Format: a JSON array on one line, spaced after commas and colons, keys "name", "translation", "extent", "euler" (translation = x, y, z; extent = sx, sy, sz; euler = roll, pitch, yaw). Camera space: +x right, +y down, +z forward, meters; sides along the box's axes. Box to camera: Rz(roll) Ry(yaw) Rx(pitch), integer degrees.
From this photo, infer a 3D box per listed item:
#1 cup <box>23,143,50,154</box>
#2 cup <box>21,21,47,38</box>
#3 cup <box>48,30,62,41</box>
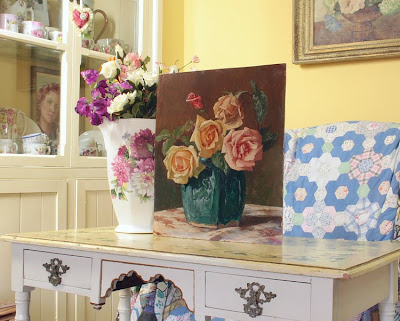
[{"name": "cup", "translation": [-0.782, -0.054, 2.113], "extent": [0.063, 0.050, 0.051], "euler": [1, -3, -2]}, {"name": "cup", "translation": [-0.806, -0.630, 2.136], "extent": [0.083, 0.064, 0.054], "euler": [0, 1, -19]}, {"name": "cup", "translation": [-0.727, -0.623, 2.215], "extent": [0.048, 0.047, 0.058], "euler": [2, 3, 32]}]
